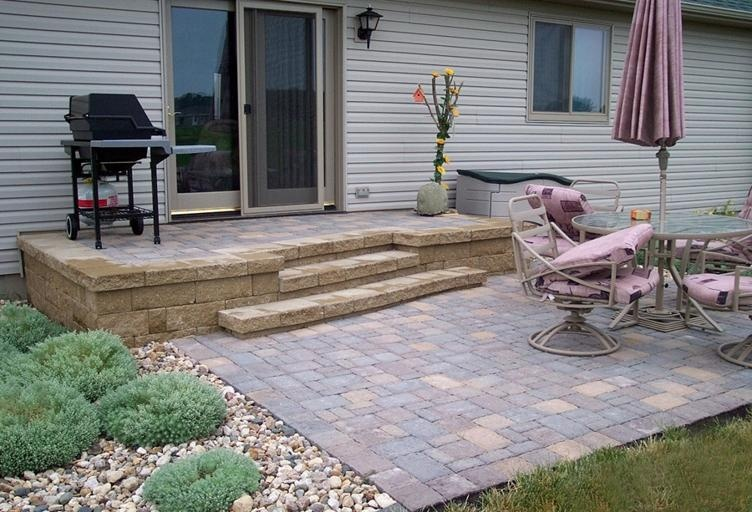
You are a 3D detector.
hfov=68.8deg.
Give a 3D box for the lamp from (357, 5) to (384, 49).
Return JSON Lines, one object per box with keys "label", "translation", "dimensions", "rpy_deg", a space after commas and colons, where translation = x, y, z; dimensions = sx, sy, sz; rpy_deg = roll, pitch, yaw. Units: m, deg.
{"label": "lamp", "translation": [-0.068, -3.351, 7.993], "dimensions": [0.438, 0.571, 0.292], "rpy_deg": [-7, 13, -17]}
